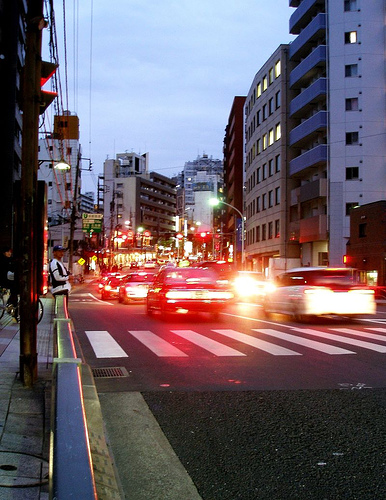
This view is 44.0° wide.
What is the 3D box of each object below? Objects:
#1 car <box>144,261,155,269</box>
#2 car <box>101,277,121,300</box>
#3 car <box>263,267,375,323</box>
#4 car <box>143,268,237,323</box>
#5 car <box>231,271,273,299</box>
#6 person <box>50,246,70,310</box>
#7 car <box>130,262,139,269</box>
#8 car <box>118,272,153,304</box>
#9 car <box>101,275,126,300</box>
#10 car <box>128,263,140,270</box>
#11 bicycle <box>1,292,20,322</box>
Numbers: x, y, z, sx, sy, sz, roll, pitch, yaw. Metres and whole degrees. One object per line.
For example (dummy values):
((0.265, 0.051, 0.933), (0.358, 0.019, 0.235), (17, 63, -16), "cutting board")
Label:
((-9.622, 3.255, 105.346), (1.469, 1.135, 3.102), (0, -6, -21), "car")
((-5.211, 2.498, 30.282), (1.019, 0.951, 2.261), (1, -6, -11), "car")
((3.820, 1.430, 15.168), (1.544, 1.754, 3.233), (3, -2, -41), "car")
((-0.147, 1.583, 16.071), (2.088, 1.355, 4.154), (0, 1, -8), "car")
((2.986, 1.744, 24.889), (1.335, 1.079, 2.270), (0, -10, -1), "car")
((-3.197, 0.510, 11.347), (0.426, 1.157, 0.670), (2, -1, -3), "person")
((-12.067, 3.161, 97.422), (1.378, 1.033, 2.247), (0, 5, -3), "car")
((-3.113, 1.956, 24.427), (1.293, 1.156, 2.452), (1, 3, -8), "car")
((-5.297, 2.422, 30.850), (1.128, 1.104, 2.507), (1, -6, -10), "car")
((-12.281, 3.383, 98.735), (1.486, 1.071, 3.179), (1, 2, -2), "car")
((-4.720, 1.445, 12.190), (0.400, 0.626, 1.200), (3, -2, -32), "bicycle")
